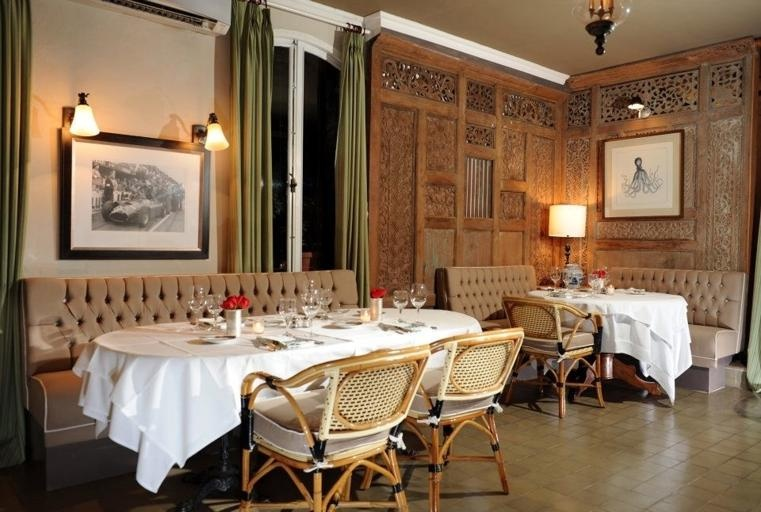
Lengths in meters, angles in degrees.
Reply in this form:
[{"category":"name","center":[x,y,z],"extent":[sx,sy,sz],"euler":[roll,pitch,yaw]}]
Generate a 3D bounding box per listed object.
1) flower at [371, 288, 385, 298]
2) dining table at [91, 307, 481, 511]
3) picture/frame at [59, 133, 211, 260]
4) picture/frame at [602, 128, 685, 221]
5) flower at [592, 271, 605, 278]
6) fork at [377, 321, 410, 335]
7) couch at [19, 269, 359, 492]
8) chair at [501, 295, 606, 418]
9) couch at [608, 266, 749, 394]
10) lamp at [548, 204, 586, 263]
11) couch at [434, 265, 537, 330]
[{"category":"flower","center":[-0.038,0.299,4.173],"extent":[0.113,0.051,0.109],"euler":[1,-7,-33]},{"category":"dining table","center":[-0.949,1.039,4.269],"extent":[2.413,1.190,2.560],"euler":[4,2,-44]},{"category":"picture/frame","center":[-2.308,-0.559,4.877],"extent":[1.237,1.148,0.040],"euler":[-2,2,-32]},{"category":"picture/frame","center":[3.705,-1.145,7.241],"extent":[0.057,1.477,1.341],"euler":[4,-4,-45]},{"category":"flower","center":[2.471,0.203,5.882],"extent":[0.093,0.052,0.091],"euler":[0,-5,-39]},{"category":"fork","center":[0.096,0.515,3.842],"extent":[0.082,0.021,0.246],"euler":[-4,8,-29]},{"category":"couch","center":[-1.531,0.956,5.012],"extent":[3.153,1.399,0.882],"euler":[-1,12,-45]},{"category":"chair","center":[1.727,0.990,5.127],"extent":[1.017,1.449,1.050],"euler":[-3,2,-34]},{"category":"couch","center":[3.870,0.878,6.630],"extent":[1.267,1.456,1.619],"euler":[2,3,-35]},{"category":"lamp","center":[2.764,-0.339,7.690],"extent":[0.482,0.849,0.528],"euler":[-1,2,28]},{"category":"couch","center":[1.293,0.431,6.519],"extent":[1.101,0.739,0.802],"euler":[0,5,-38]}]
